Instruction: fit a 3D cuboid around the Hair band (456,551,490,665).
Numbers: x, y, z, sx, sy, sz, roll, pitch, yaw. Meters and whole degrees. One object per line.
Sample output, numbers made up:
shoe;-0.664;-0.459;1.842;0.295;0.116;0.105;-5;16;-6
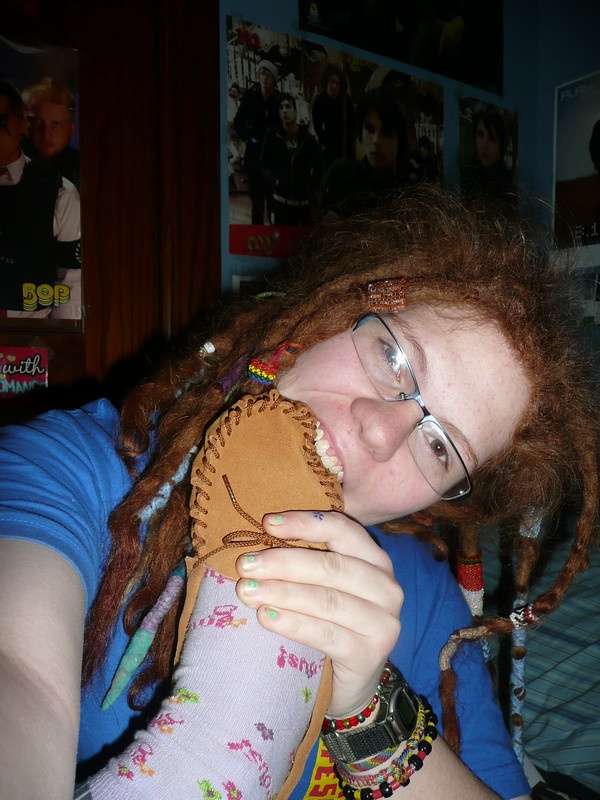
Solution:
Hair band;0.309;0.365;1.158;0.043;0.176;0.044;-14;-23;26

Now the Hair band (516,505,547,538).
Hair band;0.396;0.211;1.135;0.039;0.057;0.020;3;20;1

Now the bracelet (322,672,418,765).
bracelet;0.092;0.381;0.815;0.084;0.091;0.056;-14;22;34

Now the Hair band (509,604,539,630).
Hair band;0.347;0.337;1.033;0.038;0.018;0.050;15;-20;-9

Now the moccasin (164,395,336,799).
moccasin;-0.051;0.189;0.729;0.167;0.391;0.118;5;-5;-3

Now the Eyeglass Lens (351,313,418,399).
Eyeglass Lens;0.107;-0.047;0.830;0.046;0.149;0.031;-22;-15;-4

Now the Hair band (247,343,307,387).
Hair band;-0.025;-0.042;0.841;0.028;0.034;0.064;-26;8;39
